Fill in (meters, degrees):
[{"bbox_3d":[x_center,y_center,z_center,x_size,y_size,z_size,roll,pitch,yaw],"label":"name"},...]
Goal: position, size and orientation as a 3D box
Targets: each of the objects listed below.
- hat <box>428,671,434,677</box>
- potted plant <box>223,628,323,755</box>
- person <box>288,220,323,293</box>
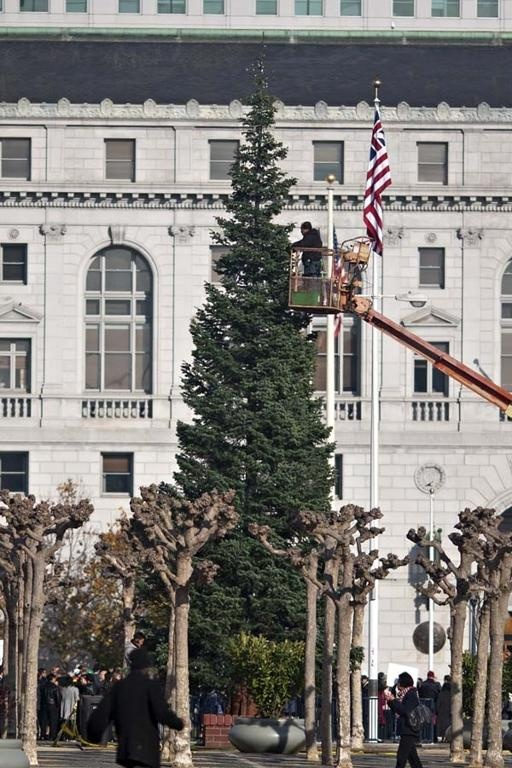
[{"bbox_3d":[4.586,7.542,79.436,0.136,0.150,0.216,0,-7,1],"label":"hat"},{"bbox_3d":[0.304,7.571,73.151,1.927,3.119,2.229,3,-10,-20],"label":"potted plant"},{"bbox_3d":[1.339,-3.263,80.070,0.719,2.350,0.875,-1,0,9],"label":"person"}]
